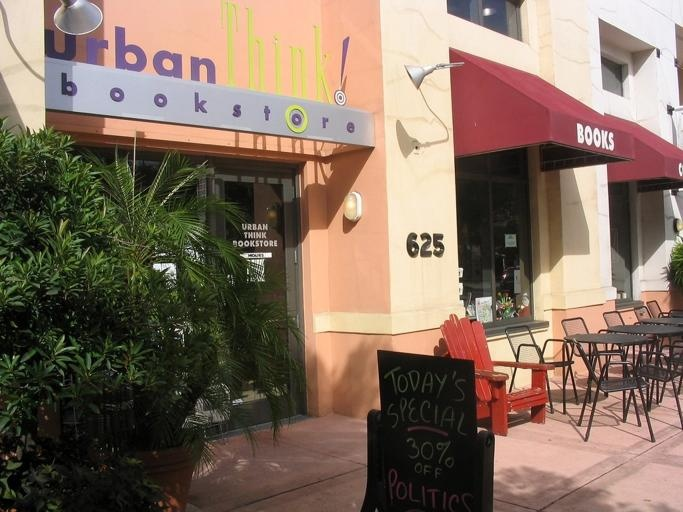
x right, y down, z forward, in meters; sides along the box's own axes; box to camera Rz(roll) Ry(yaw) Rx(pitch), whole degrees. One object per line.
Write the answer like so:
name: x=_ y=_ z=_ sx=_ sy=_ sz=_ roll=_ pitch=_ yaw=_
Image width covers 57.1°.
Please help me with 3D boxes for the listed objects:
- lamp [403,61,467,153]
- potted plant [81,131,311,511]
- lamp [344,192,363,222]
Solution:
lamp: x=1.195 y=-1.940 z=8.046 sx=0.446 sy=1.182 sz=0.954 roll=1 pitch=4 yaw=41
potted plant: x=-1.143 y=0.603 z=5.121 sx=1.454 sy=2.935 sz=0.864 roll=-2 pitch=3 yaw=-25
lamp: x=0.162 y=-0.620 z=7.902 sx=0.135 sy=0.523 sz=0.312 roll=2 pitch=-3 yaw=-38
